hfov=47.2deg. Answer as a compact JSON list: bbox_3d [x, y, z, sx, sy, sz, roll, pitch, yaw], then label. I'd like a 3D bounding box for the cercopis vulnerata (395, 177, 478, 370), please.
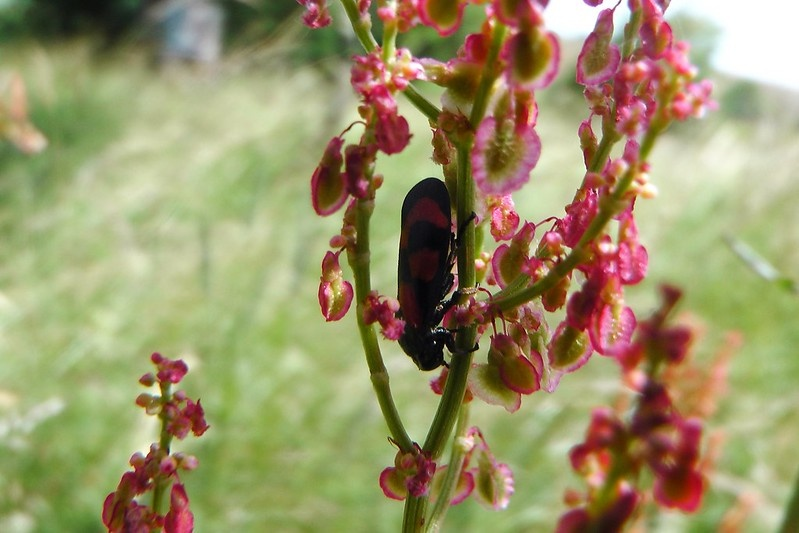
[{"bbox_3d":[0.035,0.017,1.255,0.062,0.233,0.168,-2,-2,-15],"label":"cercopis vulnerata"}]
